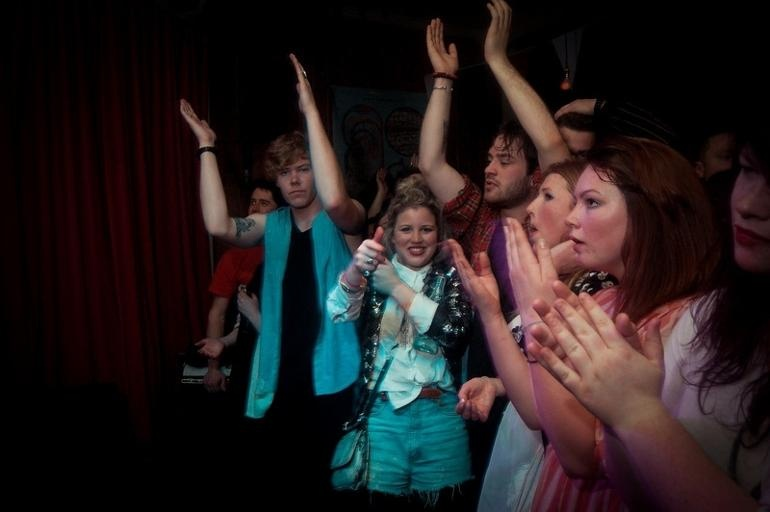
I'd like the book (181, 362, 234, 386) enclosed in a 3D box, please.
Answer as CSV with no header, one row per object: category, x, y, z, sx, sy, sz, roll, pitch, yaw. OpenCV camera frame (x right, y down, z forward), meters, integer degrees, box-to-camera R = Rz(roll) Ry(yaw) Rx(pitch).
book,-0.857,0.546,2.610,0.166,0.116,0.036,-3,-15,21

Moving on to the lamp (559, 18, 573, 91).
lamp,0.738,-0.774,2.301,0.054,0.218,0.055,-5,10,-4

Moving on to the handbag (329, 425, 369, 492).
handbag,-0.122,0.729,2.042,0.078,0.224,0.156,13,-27,-19

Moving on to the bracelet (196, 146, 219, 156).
bracelet,-0.701,-0.416,2.234,0.075,0.039,0.043,-5,4,-19
